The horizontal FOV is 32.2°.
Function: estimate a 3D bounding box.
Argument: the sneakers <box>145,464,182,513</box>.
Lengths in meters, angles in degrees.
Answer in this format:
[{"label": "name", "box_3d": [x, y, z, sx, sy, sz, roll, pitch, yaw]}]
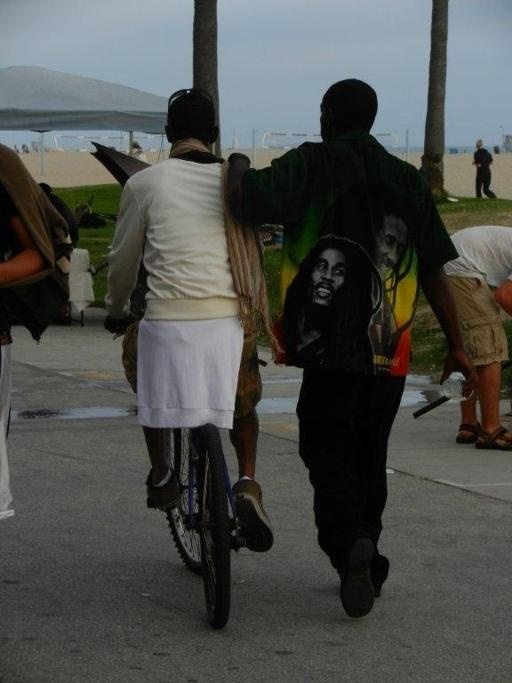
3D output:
[{"label": "sneakers", "box_3d": [-0.354, 0.566, 3.339, 0.078, 0.098, 0.220, -3, 2, -3]}]

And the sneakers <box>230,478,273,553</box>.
[{"label": "sneakers", "box_3d": [-0.011, 0.591, 3.131, 0.109, 0.309, 0.129, -6, 44, 11]}]

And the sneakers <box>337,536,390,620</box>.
[{"label": "sneakers", "box_3d": [0.376, 0.803, 3.025, 0.138, 0.365, 0.149, 10, -8, -6]}]

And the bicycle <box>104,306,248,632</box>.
[{"label": "bicycle", "box_3d": [-0.216, 0.573, 3.276, 0.442, 0.628, 1.025, -6, 11, -12]}]

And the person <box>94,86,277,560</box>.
[{"label": "person", "box_3d": [-0.235, -0.088, 3.100, 0.609, 1.650, 0.454, 1, 2, 1]}]
